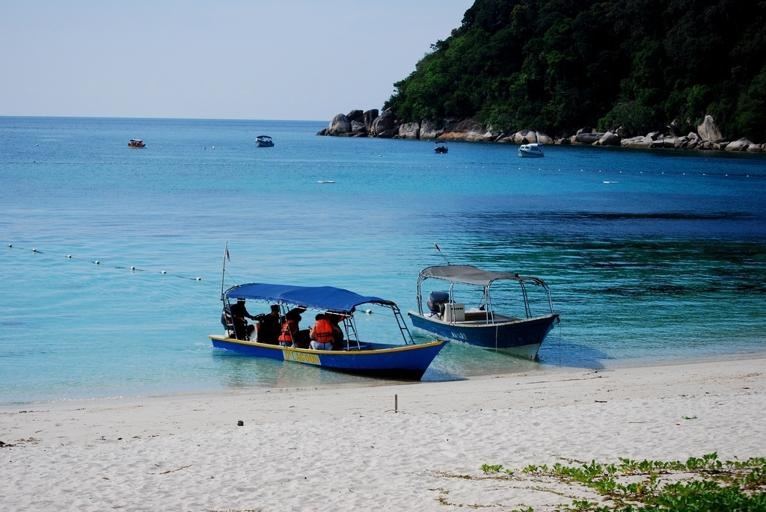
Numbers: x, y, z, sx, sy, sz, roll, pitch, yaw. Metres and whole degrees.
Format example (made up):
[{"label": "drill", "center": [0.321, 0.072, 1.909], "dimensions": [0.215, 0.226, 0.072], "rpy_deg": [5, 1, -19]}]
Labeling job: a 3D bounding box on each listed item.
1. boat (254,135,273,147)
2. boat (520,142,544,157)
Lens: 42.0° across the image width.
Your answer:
[{"label": "boat", "center": [-19.521, -18.630, 162.774], "dimensions": [3.777, 1.262, 4.267], "rpy_deg": [-1, 11, -9]}, {"label": "boat", "center": [19.724, -13.704, 130.102], "dimensions": [2.739, 1.391, 4.845], "rpy_deg": [5, 10, 23]}]
